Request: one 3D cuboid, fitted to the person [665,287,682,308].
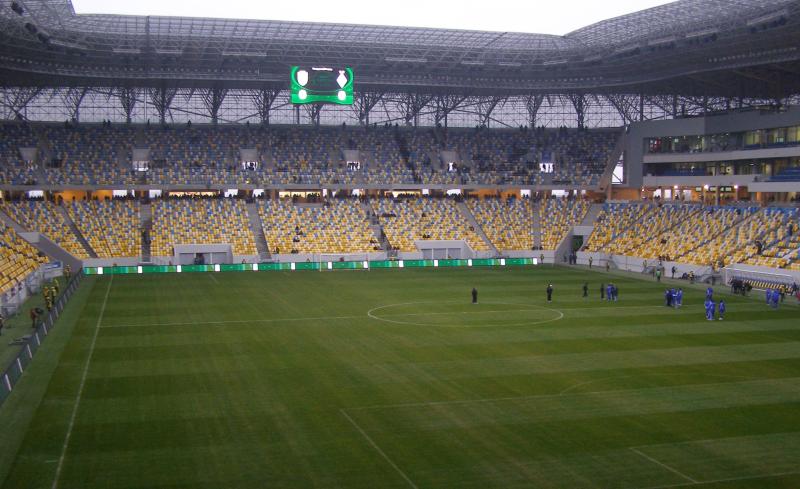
[{"bbox_3d":[21.483,4.286,52.454,0.786,1.629,1.461,5,-2,-25],"label":"person"}]

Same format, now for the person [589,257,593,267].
[{"bbox_3d":[22.296,2.033,78.027,0.438,1.230,0.529,-5,-20,9],"label":"person"}]
